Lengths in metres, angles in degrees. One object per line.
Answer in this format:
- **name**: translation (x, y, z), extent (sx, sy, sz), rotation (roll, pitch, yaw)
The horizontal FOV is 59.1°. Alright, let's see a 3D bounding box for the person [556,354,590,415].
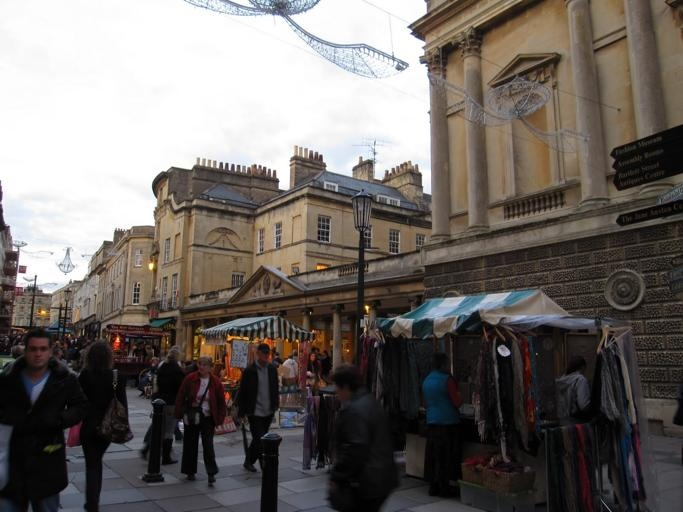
- **person**: translation (3.779, 2.146, 9.827), extent (0.517, 0.996, 0.703), rotation (-3, -12, 19)

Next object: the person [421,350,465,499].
- **person**: translation (1.682, 2.974, 10.029), extent (0.631, 1.967, 0.444), rotation (-1, -11, 8)

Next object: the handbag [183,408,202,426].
- **handbag**: translation (-2.529, 2.759, 10.523), extent (0.378, 0.424, 0.218), rotation (2, -12, -2)

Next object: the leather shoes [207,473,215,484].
- **leather shoes**: translation (-2.161, 3.777, 10.173), extent (0.128, 0.204, 0.127), rotation (-1, -6, 3)

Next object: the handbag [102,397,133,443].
- **handbag**: translation (-3.207, 2.362, 8.654), extent (0.405, 0.630, 0.196), rotation (5, -12, -20)

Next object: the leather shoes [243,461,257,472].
- **leather shoes**: translation (-1.644, 3.894, 11.056), extent (0.106, 0.147, 0.317), rotation (8, -14, -41)

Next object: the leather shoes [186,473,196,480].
- **leather shoes**: translation (-2.572, 3.821, 10.383), extent (0.075, 0.160, 0.210), rotation (15, -34, -31)
